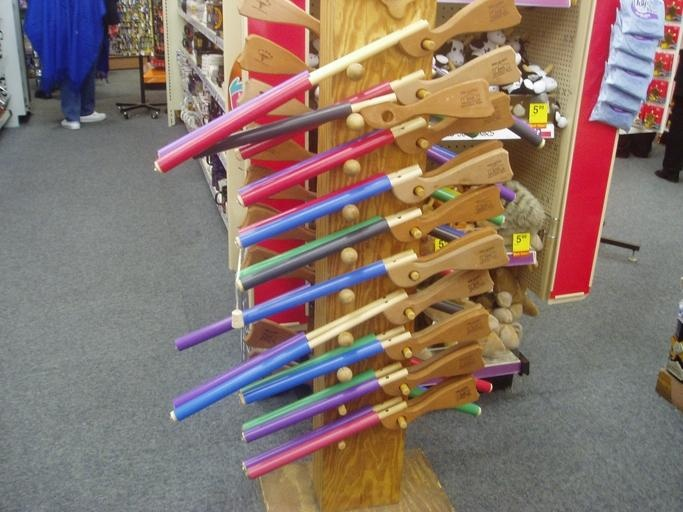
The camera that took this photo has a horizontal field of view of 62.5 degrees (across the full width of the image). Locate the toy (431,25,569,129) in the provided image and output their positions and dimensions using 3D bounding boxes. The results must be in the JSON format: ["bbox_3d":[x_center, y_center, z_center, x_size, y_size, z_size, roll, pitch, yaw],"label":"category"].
[{"bbox_3d":[0.778,-0.855,2.893,0.440,0.213,0.673,-17,40,-29],"label":"toy"}]

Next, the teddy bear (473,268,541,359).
[{"bbox_3d":[0.814,0.272,2.800,0.263,0.371,0.239,-2,25,-5],"label":"teddy bear"}]

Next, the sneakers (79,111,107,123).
[{"bbox_3d":[-2.967,-1.634,6.733,0.287,0.147,0.117,-13,49,-21],"label":"sneakers"}]
